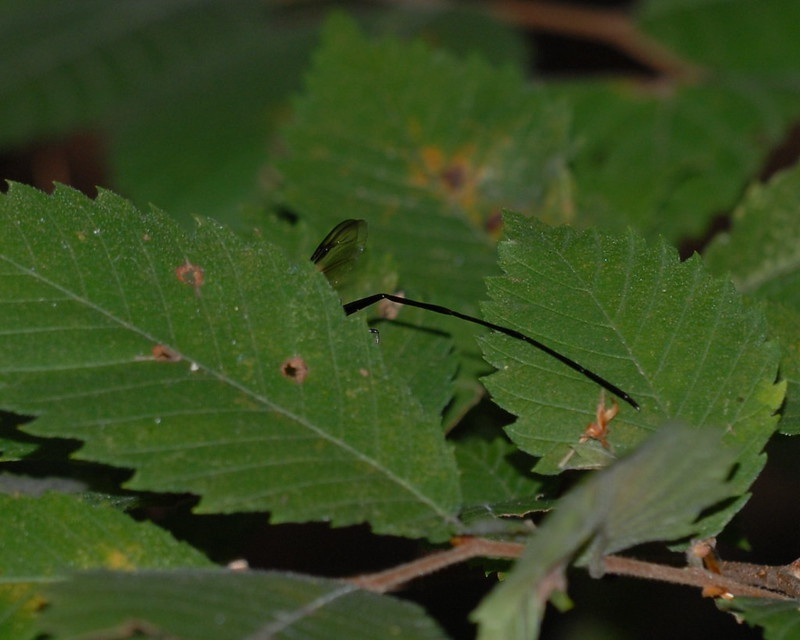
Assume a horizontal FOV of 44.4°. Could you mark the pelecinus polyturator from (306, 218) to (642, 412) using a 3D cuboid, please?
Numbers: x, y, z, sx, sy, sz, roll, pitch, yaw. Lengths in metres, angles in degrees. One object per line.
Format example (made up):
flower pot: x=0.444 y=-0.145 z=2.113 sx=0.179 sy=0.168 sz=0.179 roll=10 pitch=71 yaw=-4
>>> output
pelecinus polyturator: x=0.059 y=-0.027 z=1.124 sx=0.403 sy=0.170 sz=0.066 roll=14 pitch=15 yaw=-12
